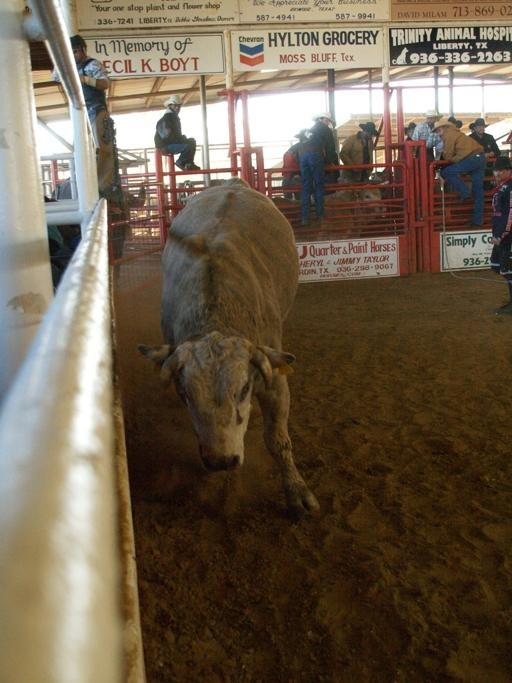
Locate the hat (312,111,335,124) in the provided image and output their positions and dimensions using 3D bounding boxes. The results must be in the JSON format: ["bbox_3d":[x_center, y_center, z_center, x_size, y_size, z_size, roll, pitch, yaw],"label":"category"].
[{"bbox_3d":[1.543,-5.060,11.437,0.488,0.195,0.388,-7,15,-12],"label":"hat"}]

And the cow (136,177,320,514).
[{"bbox_3d":[-0.174,-0.038,3.490,1.040,2.002,2.386,-3,15,3],"label":"cow"}]

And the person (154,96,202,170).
[{"bbox_3d":[-2.001,-4.944,12.035,0.726,1.694,1.221,6,18,32],"label":"person"}]

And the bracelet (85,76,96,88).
[{"bbox_3d":[-1.897,-2.961,5.763,0.112,0.056,0.151,0,34,-11],"label":"bracelet"}]

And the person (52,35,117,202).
[{"bbox_3d":[-1.860,-2.637,5.908,0.342,1.921,1.036,-7,15,-13],"label":"person"}]
